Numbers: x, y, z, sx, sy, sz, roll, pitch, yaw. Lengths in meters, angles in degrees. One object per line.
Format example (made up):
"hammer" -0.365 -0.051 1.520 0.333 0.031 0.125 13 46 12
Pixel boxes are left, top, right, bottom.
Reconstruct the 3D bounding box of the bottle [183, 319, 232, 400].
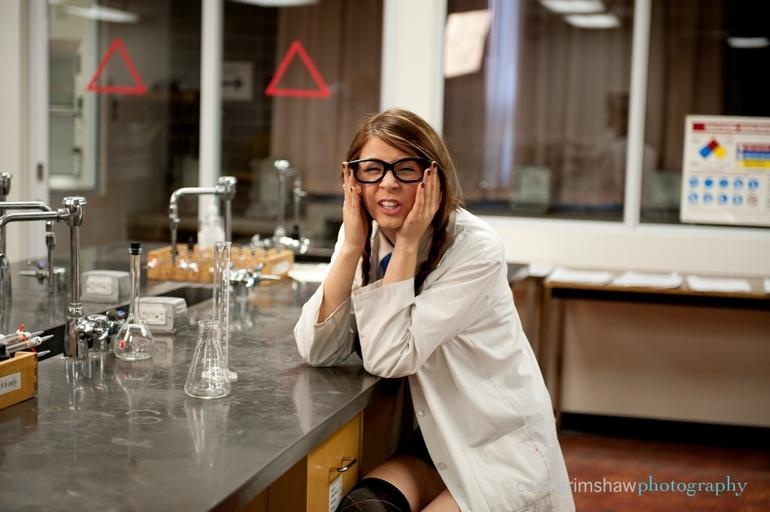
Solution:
"bottle" -0.590 0.338 2.329 0.172 0.244 0.177 3 8 0
